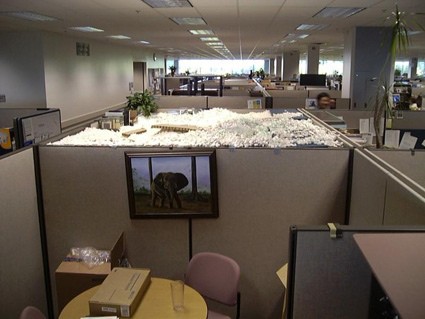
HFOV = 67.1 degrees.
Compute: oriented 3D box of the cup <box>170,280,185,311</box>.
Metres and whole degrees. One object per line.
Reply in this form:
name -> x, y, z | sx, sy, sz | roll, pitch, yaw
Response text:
cup -> -0.228, 0.856, 2.091 | 0.080, 0.160, 0.182 | -1, 14, -3
